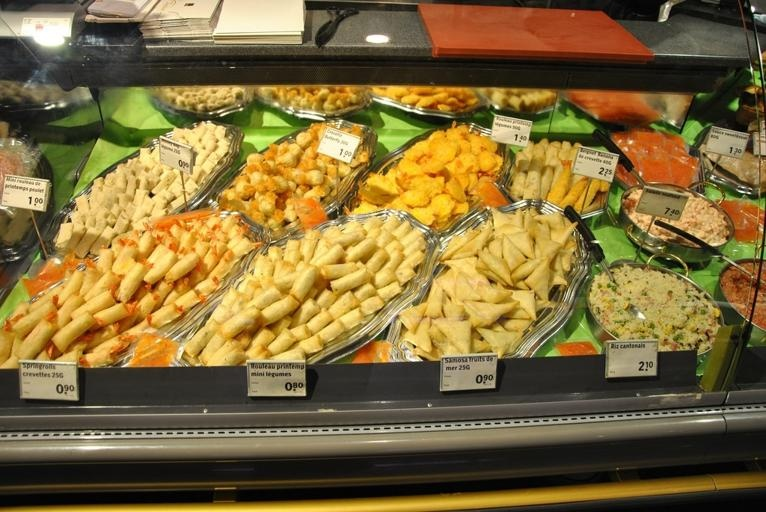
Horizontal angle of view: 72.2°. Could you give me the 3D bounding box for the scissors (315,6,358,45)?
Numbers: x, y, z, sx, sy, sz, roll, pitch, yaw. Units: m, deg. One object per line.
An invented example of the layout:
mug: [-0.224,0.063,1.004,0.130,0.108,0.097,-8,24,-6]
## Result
scissors: [-0.269,-1.190,2.720,0.133,0.064,0.393,20,46,16]

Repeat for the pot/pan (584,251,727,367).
pot/pan: [1.224,0.242,2.447,0.457,0.131,0.418,1,41,5]

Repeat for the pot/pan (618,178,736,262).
pot/pan: [1.458,-0.178,2.612,0.578,0.216,0.470,-15,45,-9]

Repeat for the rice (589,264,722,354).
rice: [1.194,0.259,2.490,0.847,0.470,0.293,-6,65,8]
